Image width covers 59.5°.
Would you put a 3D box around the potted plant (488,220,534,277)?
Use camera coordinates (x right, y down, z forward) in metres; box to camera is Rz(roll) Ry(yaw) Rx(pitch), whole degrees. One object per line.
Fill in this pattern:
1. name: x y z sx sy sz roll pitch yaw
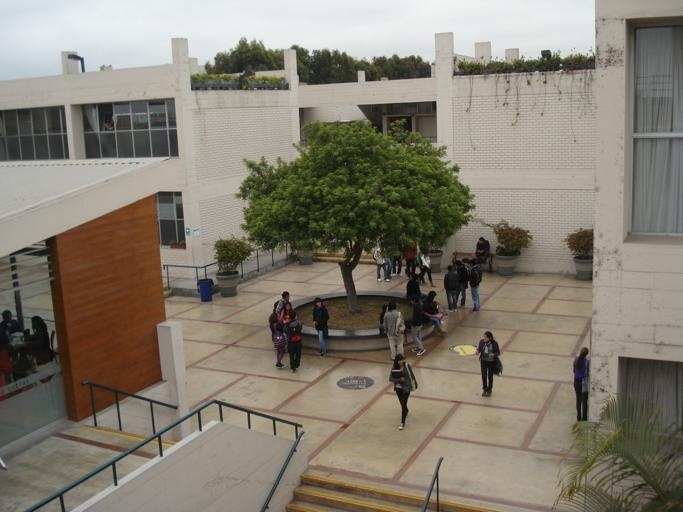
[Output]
1. potted plant: 7.715 -0.409 27.058 1.635 2.463 1.199 0 14 14

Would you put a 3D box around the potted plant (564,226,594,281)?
1. potted plant: 10.296 -0.063 25.860 1.075 2.209 1.436 1 14 17

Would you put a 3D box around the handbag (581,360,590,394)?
1. handbag: 5.719 2.789 13.947 0.133 0.852 0.125 5 16 31

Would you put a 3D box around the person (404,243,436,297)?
1. person: 3.131 0.546 23.924 1.535 2.104 1.025 7 33 31

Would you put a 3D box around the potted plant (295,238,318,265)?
1. potted plant: -1.502 -0.187 24.682 0.903 1.002 0.924 4 6 41

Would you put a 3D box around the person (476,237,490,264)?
1. person: 6.255 -0.248 26.534 0.438 1.222 0.926 8 18 39

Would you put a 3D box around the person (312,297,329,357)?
1. person: -0.677 2.191 19.031 0.415 1.903 0.529 1 14 18

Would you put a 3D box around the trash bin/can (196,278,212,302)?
1. trash bin/can: -5.797 1.448 26.050 0.891 0.992 0.866 0 2 12

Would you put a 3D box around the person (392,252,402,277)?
1. person: 2.612 0.340 27.688 0.376 0.925 1.225 -2 14 5

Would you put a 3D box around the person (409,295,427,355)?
1. person: 2.472 2.180 19.150 0.427 1.655 1.271 -1 14 8

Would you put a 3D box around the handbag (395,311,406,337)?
1. handbag: 1.766 2.050 17.942 0.450 0.587 0.548 0 56 2

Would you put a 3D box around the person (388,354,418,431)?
1. person: 1.554 3.156 14.850 0.590 1.772 1.350 -2 14 7

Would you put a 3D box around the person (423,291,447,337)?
1. person: 3.141 1.860 19.946 0.820 1.433 0.538 7 17 43
